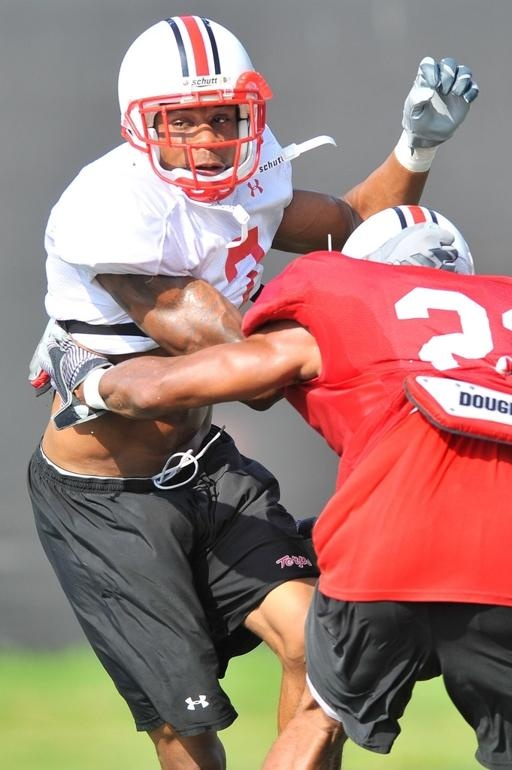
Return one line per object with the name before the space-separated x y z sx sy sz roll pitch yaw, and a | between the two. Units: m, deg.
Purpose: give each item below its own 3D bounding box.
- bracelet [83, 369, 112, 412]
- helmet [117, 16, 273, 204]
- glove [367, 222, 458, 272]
bracelet | -0.301 0.018 1.648 0.079 0.073 0.064 6 -30 -15
helmet | -0.116 -0.549 1.715 0.285 0.378 0.233 -2 10 -14
glove | 0.235 -0.193 1.283 0.111 0.069 0.104 -16 -18 6
